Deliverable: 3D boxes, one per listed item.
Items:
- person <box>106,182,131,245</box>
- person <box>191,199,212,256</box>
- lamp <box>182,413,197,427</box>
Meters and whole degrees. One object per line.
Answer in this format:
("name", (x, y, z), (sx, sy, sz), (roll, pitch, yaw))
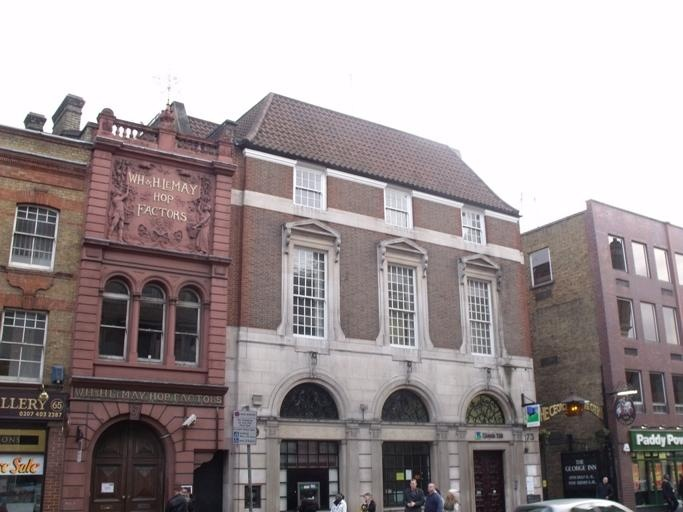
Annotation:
("person", (-8.181, -1.568, 25.225), (0.635, 2.082, 0.266), (6, -22, -19))
("person", (-5.394, -1.114, 26.573), (0.691, 2.061, 0.240), (5, -21, -15))
("lamp", (-5.427, 5.865, 24.613), (0.526, 0.486, 0.351), (6, -22, -17))
